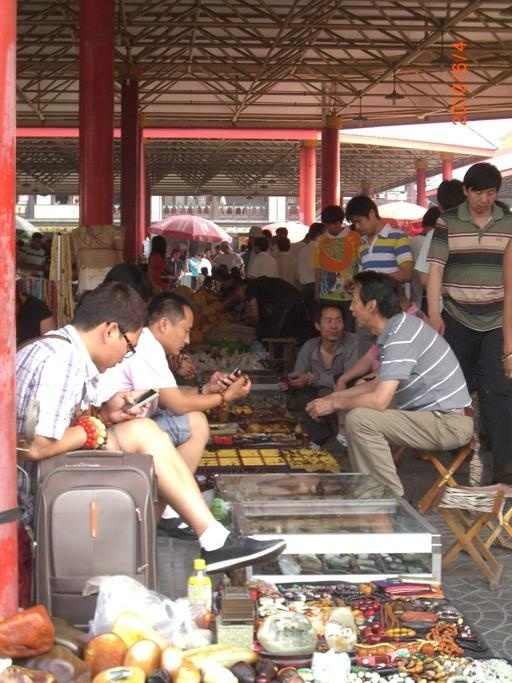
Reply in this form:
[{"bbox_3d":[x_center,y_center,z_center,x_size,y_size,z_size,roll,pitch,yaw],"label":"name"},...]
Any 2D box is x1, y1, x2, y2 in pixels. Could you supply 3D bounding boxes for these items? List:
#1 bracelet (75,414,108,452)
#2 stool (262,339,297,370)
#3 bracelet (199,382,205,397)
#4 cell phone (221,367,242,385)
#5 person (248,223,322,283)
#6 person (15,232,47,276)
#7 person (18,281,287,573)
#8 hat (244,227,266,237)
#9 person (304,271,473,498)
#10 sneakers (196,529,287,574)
[{"bbox_3d":[-0.492,0.273,1.719,0.042,0.083,0.110,-41,16,-4],"label":"bracelet"},{"bbox_3d":[0.309,0.160,7.341,0.468,0.486,0.369,-1,5,2],"label":"stool"},{"bbox_3d":[-0.304,0.265,3.156,0.024,0.058,0.045,-3,13,-13],"label":"bracelet"},{"bbox_3d":[-0.130,0.188,3.026,0.061,0.025,0.105,25,51,26],"label":"cell phone"},{"bbox_3d":[0.503,-1.350,9.397,1.236,0.464,1.261,-2,11,-7],"label":"person"},{"bbox_3d":[-5.377,-2.108,13.670,0.639,1.117,2.733,-3,7,-20],"label":"person"},{"bbox_3d":[-0.268,0.216,2.115,1.104,1.067,0.651,-1,5,-20],"label":"person"},{"bbox_3d":[-0.042,-2.424,12.757,0.429,0.161,0.410,0,4,-8],"label":"hat"},{"bbox_3d":[0.750,0.165,3.055,0.672,1.071,0.542,-5,8,-28],"label":"person"},{"bbox_3d":[-0.052,0.699,1.958,0.322,0.125,0.102,-12,-26,-19],"label":"sneakers"}]
